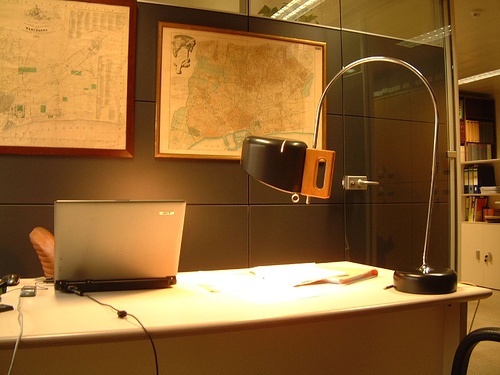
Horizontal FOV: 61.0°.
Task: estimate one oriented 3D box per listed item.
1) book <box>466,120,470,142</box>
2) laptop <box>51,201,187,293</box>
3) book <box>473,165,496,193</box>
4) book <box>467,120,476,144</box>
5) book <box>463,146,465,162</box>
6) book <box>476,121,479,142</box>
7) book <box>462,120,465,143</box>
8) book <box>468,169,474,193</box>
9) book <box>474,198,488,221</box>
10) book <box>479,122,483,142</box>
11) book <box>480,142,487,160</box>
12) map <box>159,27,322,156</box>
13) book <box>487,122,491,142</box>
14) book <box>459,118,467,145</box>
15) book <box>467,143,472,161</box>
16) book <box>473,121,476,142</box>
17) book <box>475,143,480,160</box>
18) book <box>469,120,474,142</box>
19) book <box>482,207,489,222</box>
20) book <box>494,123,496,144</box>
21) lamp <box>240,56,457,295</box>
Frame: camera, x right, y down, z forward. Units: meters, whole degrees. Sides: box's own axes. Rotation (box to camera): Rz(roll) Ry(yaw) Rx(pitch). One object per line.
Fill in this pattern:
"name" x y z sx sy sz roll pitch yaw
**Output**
"book" 3.326 -0.873 6.473 0.055 0.320 0.145 2 5 26
"laptop" -0.640 0.282 2.068 0.567 0.493 0.476 3 3 -11
"book" 3.339 -0.130 6.069 0.277 0.398 0.245 1 5 13
"book" 3.380 -0.861 6.494 0.216 0.349 0.101 -2 5 -27
"book" 3.234 -0.526 6.411 0.025 0.215 0.077 2 5 19
"book" 3.501 -0.874 6.536 0.043 0.321 0.125 2 5 27
"book" 3.250 -0.871 6.455 0.045 0.347 0.119 2 5 27
"book" 3.184 -0.101 6.125 0.036 0.340 0.135 -1 4 -9
"book" 3.290 0.309 6.049 0.160 0.324 0.065 0 4 -1
"book" 3.566 -0.872 6.551 0.063 0.298 0.096 2 5 27
"book" 3.586 -0.580 6.519 0.090 0.263 0.225 3 5 35
"map" -0.135 -0.730 3.179 1.043 0.835 0.027 1 0 -18
"book" 3.719 -0.875 6.600 0.057 0.294 0.113 2 5 28
"book" 3.247 -0.870 6.456 0.150 0.405 0.095 -1 5 -18
"book" 3.337 -0.559 6.451 0.068 0.261 0.130 2 5 28
"book" 3.446 -0.875 6.516 0.043 0.314 0.131 2 5 27
"book" 3.479 -0.570 6.487 0.073 0.248 0.138 2 5 28
"book" 3.390 -0.876 6.494 0.067 0.319 0.134 2 5 22
"book" 3.357 0.372 6.053 0.080 0.198 0.195 3 5 30
"book" 3.834 -0.865 6.642 0.030 0.326 0.105 2 5 29
"lamp" 0.472 -0.075 2.093 1.045 1.227 0.367 -1 5 -18
